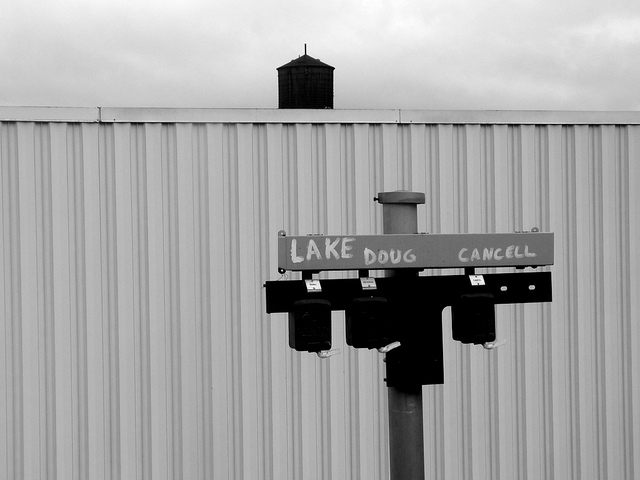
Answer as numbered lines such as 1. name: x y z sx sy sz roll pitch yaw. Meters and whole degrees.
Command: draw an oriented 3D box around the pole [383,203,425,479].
1. pole: 0.866 1.080 19.843 0.412 2.955 0.366 0 3 3
